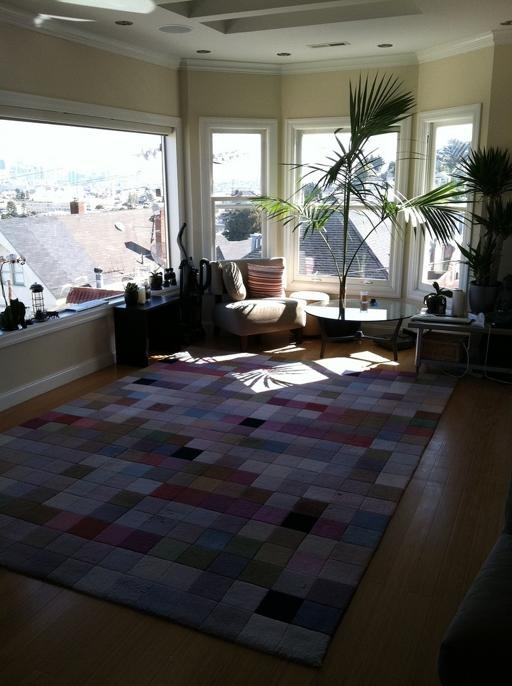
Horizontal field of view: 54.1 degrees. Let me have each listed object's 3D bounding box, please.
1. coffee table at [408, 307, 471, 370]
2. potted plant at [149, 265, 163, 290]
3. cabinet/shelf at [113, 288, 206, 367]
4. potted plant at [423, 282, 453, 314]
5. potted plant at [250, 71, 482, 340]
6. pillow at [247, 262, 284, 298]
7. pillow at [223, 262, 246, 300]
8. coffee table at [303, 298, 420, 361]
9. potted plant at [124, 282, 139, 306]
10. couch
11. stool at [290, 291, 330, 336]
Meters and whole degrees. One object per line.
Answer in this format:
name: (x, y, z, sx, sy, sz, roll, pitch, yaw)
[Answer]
coffee table: (1.624, -0.079, 4.540, 0.541, 0.511, 0.566, 7, 17, 27)
potted plant: (-1.079, -0.662, 5.391, 0.123, 0.194, 0.186, -2, 10, -16)
cabinet/shelf: (-0.999, -0.153, 5.030, 0.236, 0.384, 0.726, 7, 24, 18)
potted plant: (1.764, -0.427, 4.818, 0.186, 0.314, 0.315, 2, 19, 12)
potted plant: (1.139, -1.678, 5.235, 1.554, 1.438, 1.604, -3, 9, -42)
pillow: (0.100, -0.690, 5.625, 0.421, 0.407, 0.167, 0, -2, -1)
pillow: (-0.252, -0.666, 5.473, 0.264, 0.413, 0.238, 2, 10, 7)
coffee table: (1.009, -0.109, 4.805, 1.100, 0.456, 1.102, -2, -12, 28)
potted plant: (-1.185, -0.458, 4.766, 0.134, 0.205, 0.255, -2, 10, -13)
couch: (-0.027, -0.470, 5.532, 1.270, 1.228, 0.927, -10, 16, -36)
stool: (0.623, -0.350, 5.669, 0.493, 0.533, 0.488, 5, 21, 9)
